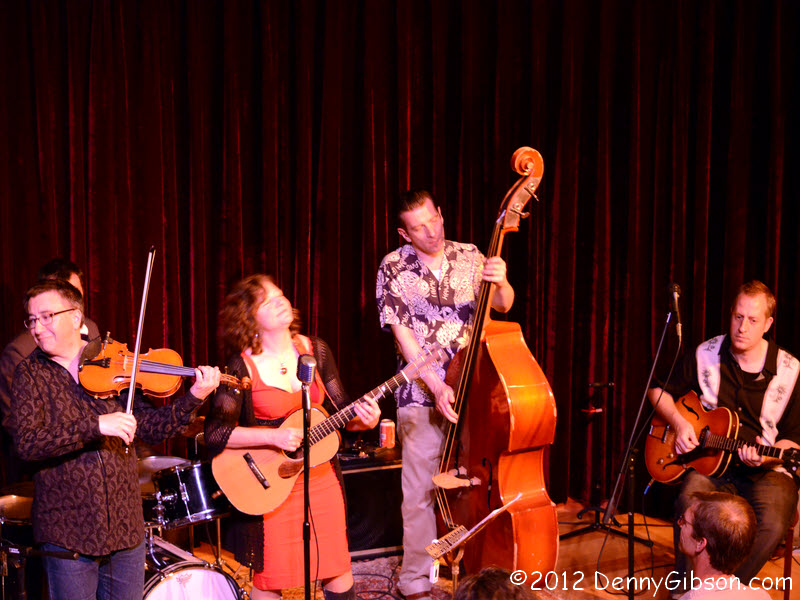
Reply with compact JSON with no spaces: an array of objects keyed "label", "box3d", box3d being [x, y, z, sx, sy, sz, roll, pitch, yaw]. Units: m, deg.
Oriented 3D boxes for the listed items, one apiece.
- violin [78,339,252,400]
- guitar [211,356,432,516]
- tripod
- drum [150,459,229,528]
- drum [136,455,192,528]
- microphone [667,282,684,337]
[{"label":"violin","box3d":[-1.171,0.382,3.975,0.784,0.373,0.145,10,-23,-20]},{"label":"guitar","box3d":[-0.485,0.739,4.148,0.988,0.787,0.294,4,-5,-15]},{"label":"tripod","box3d":[1.472,1.252,5.599,0.553,1.385,0.580,6,10,13]},{"label":"drum","box3d":[-1.165,1.052,4.393,0.374,0.358,0.422,-2,6,-15]},{"label":"drum","box3d":[-1.462,1.095,4.779,0.261,0.314,0.253,-3,10,-34]},{"label":"microphone","box3d":[1.847,0.076,5.269,0.105,0.403,0.110,0,-10,0]}]
